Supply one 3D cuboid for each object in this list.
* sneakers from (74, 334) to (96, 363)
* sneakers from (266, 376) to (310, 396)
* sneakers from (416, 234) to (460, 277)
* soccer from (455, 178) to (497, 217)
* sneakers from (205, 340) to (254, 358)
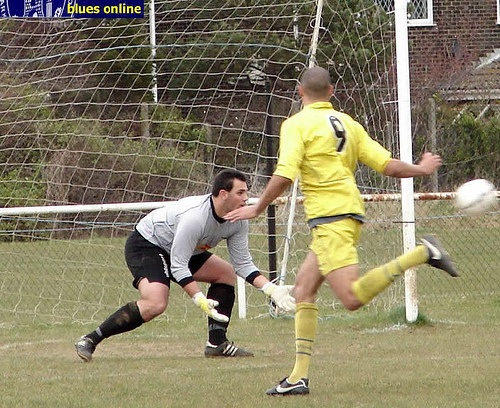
[{"bbox_3d":[-1.552,1.359,6.881,0.183,0.270,0.250,-3,4,-19],"label":"sneakers"},{"bbox_3d":[0.290,1.418,5.771,0.328,0.155,0.135,1,-7,-1],"label":"sneakers"},{"bbox_3d":[1.442,0.404,5.628,0.434,0.191,0.157,50,5,21],"label":"sneakers"},{"bbox_3d":[1.839,-0.046,5.993,0.240,0.190,0.296,25,-31,-19],"label":"soccer"},{"bbox_3d":[-0.189,1.402,7.149,0.502,0.214,0.182,0,-5,1],"label":"sneakers"}]
